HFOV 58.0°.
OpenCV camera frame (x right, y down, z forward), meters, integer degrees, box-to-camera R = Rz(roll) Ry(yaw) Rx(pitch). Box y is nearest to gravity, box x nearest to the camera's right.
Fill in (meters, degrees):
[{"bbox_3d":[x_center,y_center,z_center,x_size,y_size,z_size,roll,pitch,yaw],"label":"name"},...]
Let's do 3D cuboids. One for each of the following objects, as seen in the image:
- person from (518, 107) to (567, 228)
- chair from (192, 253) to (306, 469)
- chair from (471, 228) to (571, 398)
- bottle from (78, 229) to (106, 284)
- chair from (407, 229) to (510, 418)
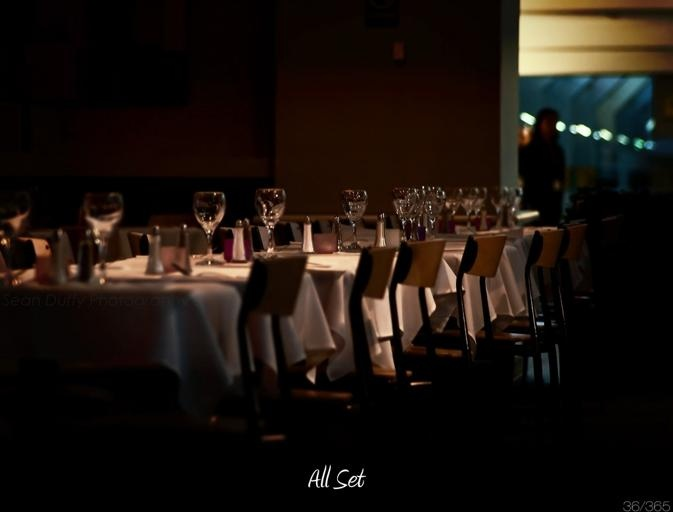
[{"bbox_3d":[2.633,-1.111,7.724,0.641,1.463,0.530,2,11,1],"label":"person"},{"bbox_3d":[-0.210,0.305,1.926,0.206,0.647,0.316,-1,12,-12],"label":"chair"},{"bbox_3d":[0.938,0.363,3.258,0.462,0.899,0.489,-4,-3,18],"label":"chair"},{"bbox_3d":[-0.730,-0.002,1.803,0.076,0.149,0.178,-3,14,-22],"label":"bottle"},{"bbox_3d":[0.516,0.192,2.814,0.314,0.585,0.304,4,8,20],"label":"chair"}]
